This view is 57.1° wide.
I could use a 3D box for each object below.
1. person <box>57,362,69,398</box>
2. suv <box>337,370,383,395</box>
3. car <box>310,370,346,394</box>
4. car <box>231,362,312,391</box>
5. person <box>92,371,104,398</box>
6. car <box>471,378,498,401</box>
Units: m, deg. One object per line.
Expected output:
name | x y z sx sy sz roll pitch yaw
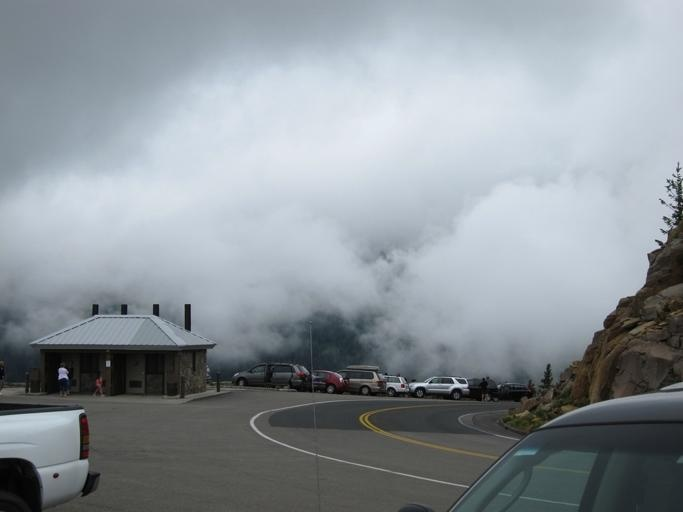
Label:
person | -14.464 6.424 32.703 0.477 1.661 2.142 1 -8 -23
suv | 1.525 8.608 42.446 2.480 1.013 1.430 3 -5 20
car | -0.905 8.510 42.049 2.090 1.484 1.471 -6 -8 27
car | -4.633 8.401 43.307 5.709 1.840 1.311 -5 -7 24
person | -12.568 6.684 32.507 0.451 1.130 1.284 1 -7 -21
car | 10.899 10.377 48.689 2.104 1.545 1.660 -1 -3 21
